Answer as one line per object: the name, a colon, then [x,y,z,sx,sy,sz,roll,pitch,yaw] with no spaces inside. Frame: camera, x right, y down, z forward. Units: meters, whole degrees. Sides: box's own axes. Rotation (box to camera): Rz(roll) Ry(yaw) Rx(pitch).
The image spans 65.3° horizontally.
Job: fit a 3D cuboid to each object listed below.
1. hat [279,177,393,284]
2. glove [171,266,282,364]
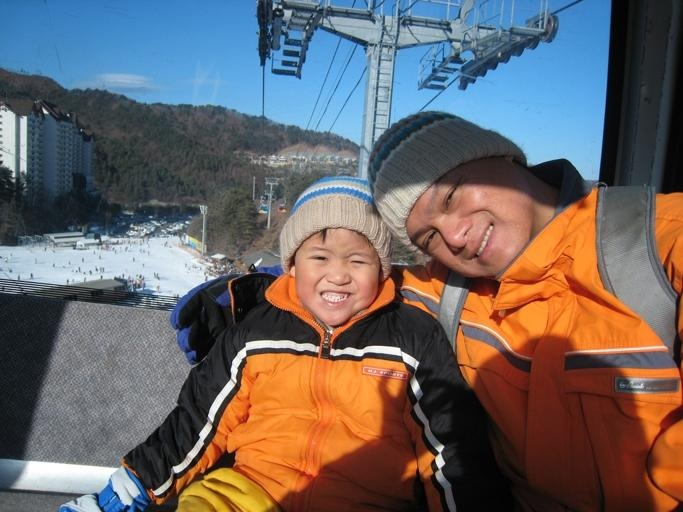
hat: [-0.056,-0.043,2.591,0.430,0.394,0.469,2,-15,-10]
glove: [-0.567,0.249,2.605,0.466,0.201,0.387,-28,42,-2]
